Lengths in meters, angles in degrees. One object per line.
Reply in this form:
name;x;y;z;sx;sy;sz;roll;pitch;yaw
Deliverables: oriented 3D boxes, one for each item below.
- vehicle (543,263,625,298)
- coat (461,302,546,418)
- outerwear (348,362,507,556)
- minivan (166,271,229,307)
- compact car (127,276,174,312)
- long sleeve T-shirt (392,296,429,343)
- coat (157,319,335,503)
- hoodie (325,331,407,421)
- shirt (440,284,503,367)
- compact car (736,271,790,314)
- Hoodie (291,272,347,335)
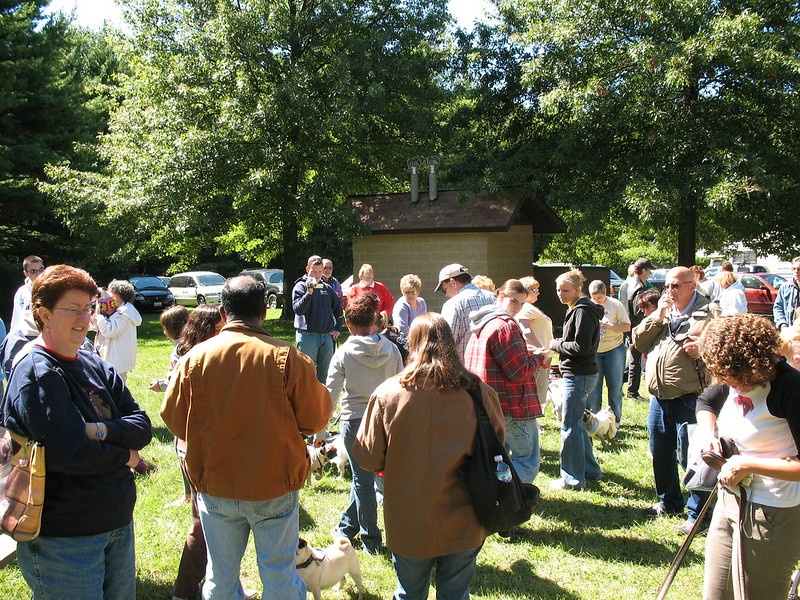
vehicle;3.791;-0.441;18.038;1.700;1.024;1.125;-5;1;9
coat;1.242;0.632;9.397;0.936;1.544;1.294;-3;3;-9
outerwear;0.213;1.429;8.250;1.913;2.154;1.260;-1;2;8
minivan;-6.280;-0.352;26.313;1.774;0.923;1.063;-2;0;43
compact car;-7.320;-0.188;25.244;0.988;1.093;2.049;-1;-2;-30
long sleeve T-shirt;0.220;0.186;12.807;0.811;0.752;0.432;-3;1;-40
coat;-1.280;0.904;8.307;1.966;2.163;1.257;0;4;5
hoodie;-0.334;0.789;8.947;1.046;0.971;0.483;-1;10;-9
shirt;0.776;0.287;9.334;0.790;0.833;0.275;0;-2;-21
compact car;8.414;-0.172;20.050;1.570;0.844;0.984;-4;0;31
Hoodie;-1.270;0.172;13.001;0.845;1.001;0.791;2;-14;-14
